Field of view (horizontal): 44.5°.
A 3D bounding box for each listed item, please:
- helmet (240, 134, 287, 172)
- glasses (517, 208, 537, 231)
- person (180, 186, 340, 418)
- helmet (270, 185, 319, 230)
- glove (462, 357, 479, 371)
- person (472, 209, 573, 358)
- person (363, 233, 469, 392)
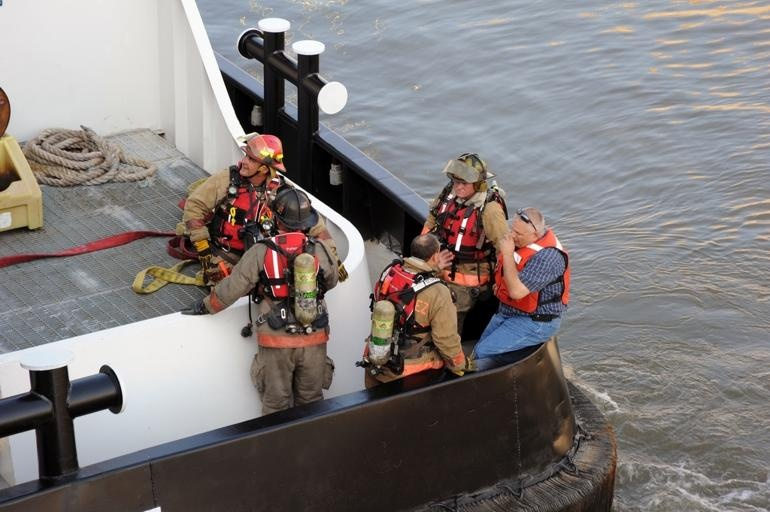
[{"bbox_3d":[-1.117,-0.943,9.068,0.420,0.206,0.298,13,36,-32],"label":"helmet"},{"bbox_3d":[1.328,-0.345,8.996,0.051,0.181,0.170,-52,35,-1],"label":"glasses"},{"bbox_3d":[-0.932,0.458,8.515,1.157,1.667,1.183,-21,51,-26],"label":"person"},{"bbox_3d":[-0.832,-0.465,8.479,0.407,0.248,0.553,-10,36,-28],"label":"helmet"},{"bbox_3d":[0.767,0.969,8.482,0.101,0.045,0.125,-2,32,-8],"label":"glove"},{"bbox_3d":[1.314,0.316,9.373,1.028,1.859,0.768,-6,55,-11],"label":"person"},{"bbox_3d":[0.276,0.666,8.573,0.912,1.317,1.017,6,44,-2],"label":"person"}]
